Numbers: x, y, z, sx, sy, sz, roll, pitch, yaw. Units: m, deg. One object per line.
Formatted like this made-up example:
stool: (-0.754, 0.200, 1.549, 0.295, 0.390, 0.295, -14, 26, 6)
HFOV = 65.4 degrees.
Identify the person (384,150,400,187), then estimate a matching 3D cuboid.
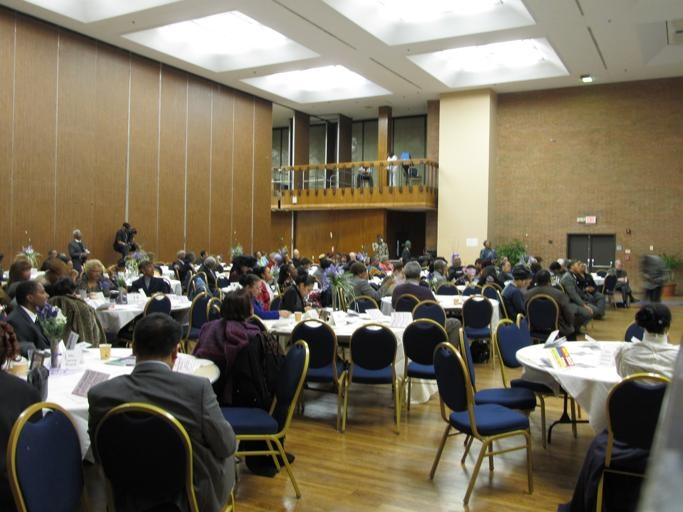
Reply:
person: (1.849, -3.050, 19.494, 0.551, 0.969, 0.256, 8, 7, 37)

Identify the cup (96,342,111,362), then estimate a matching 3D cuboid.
cup: (-1.704, 0.690, 3.818, 0.098, 0.123, 0.101, -1, -5, 0)

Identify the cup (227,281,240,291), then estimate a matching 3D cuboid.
cup: (-1.580, 0.425, 7.779, 0.236, 0.133, 0.323, -2, 3, -23)

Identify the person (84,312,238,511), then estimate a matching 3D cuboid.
person: (-0.855, 0.798, 2.593, 0.689, 0.983, 0.381, 3, 6, -12)

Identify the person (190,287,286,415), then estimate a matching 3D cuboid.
person: (-0.795, 0.663, 3.915, 0.473, 0.834, 0.463, 1, 16, -2)

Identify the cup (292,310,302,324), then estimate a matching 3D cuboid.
cup: (-0.451, 0.614, 5.439, 0.087, 0.108, 0.096, 0, -4, 0)

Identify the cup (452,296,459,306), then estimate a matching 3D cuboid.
cup: (1.662, 0.638, 7.711, 0.078, 0.085, 0.105, 0, -9, -3)
